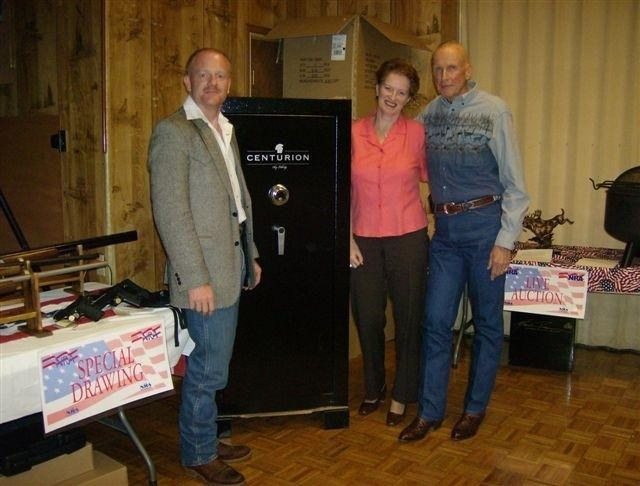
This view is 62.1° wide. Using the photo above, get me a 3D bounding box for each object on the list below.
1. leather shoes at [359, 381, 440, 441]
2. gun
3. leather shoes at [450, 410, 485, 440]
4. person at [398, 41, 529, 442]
[{"bbox_3d":[0.448,0.923,2.901,0.271,0.106,0.269,9,3,41],"label":"leather shoes"},{"bbox_3d":[-0.915,0.248,2.216,0.086,0.049,0.223,45,44,20],"label":"gun"},{"bbox_3d":[0.787,0.966,2.805,0.081,0.081,0.214,8,17,42],"label":"leather shoes"},{"bbox_3d":[0.767,0.105,2.744,0.547,1.824,0.434,3,11,15],"label":"person"}]
